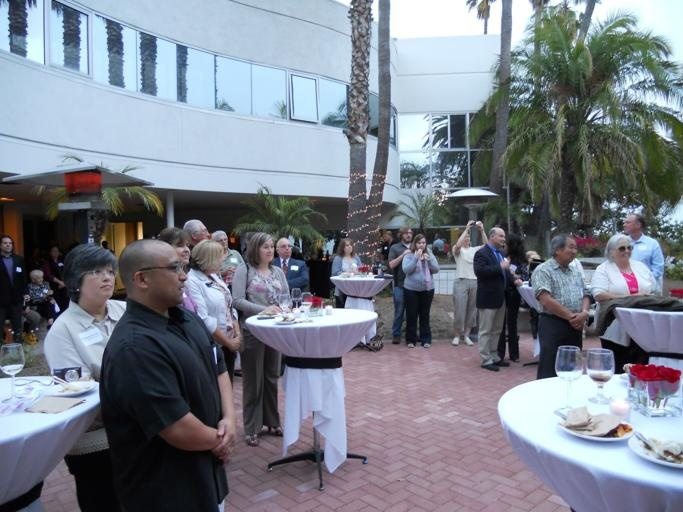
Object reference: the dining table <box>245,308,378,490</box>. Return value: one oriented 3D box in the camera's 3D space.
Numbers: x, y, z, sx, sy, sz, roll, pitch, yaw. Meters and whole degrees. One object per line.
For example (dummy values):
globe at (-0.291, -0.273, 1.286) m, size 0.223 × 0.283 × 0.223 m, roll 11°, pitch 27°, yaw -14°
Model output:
dining table at (-0.332, 1.304, 5.303) m, size 1.123 × 1.382 × 1.100 m, roll 1°, pitch -1°, yaw -39°

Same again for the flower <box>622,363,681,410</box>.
flower at (2.026, 0.826, 3.581) m, size 0.243 × 0.281 × 0.314 m, roll -1°, pitch -3°, yaw -1°

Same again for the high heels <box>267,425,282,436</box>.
high heels at (-0.719, 1.883, 5.892) m, size 0.199 × 0.084 × 0.077 m, roll -2°, pitch -1°, yaw 30°

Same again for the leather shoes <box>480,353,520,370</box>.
leather shoes at (2.386, 1.610, 8.281) m, size 0.613 × 0.291 × 0.191 m, roll -5°, pitch 5°, yaw -26°

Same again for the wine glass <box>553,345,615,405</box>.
wine glass at (1.673, 0.840, 3.776) m, size 0.395 × 0.423 × 0.229 m, roll -2°, pitch -4°, yaw 5°

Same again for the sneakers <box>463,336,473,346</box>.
sneakers at (2.287, 1.547, 9.903) m, size 0.110 × 0.139 × 0.326 m, roll -2°, pitch -9°, yaw 3°

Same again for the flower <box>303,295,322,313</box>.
flower at (-0.302, 0.495, 5.619) m, size 0.151 × 0.168 × 0.163 m, roll 1°, pitch 1°, yaw 12°

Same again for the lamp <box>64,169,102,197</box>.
lamp at (-3.793, -1.062, 7.975) m, size 0.574 × 0.360 × 0.226 m, roll 0°, pitch 6°, yaw 2°

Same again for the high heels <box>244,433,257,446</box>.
high heels at (-0.947, 1.915, 5.687) m, size 0.068 × 0.089 × 0.215 m, roll 1°, pitch -10°, yaw -9°

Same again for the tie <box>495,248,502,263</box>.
tie at (2.343, 0.002, 8.220) m, size 0.036 × 0.091 × 0.232 m, roll -44°, pitch -5°, yaw 25°

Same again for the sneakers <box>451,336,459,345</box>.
sneakers at (2.058, 1.541, 9.935) m, size 0.115 × 0.150 × 0.339 m, roll -2°, pitch -7°, yaw 13°
